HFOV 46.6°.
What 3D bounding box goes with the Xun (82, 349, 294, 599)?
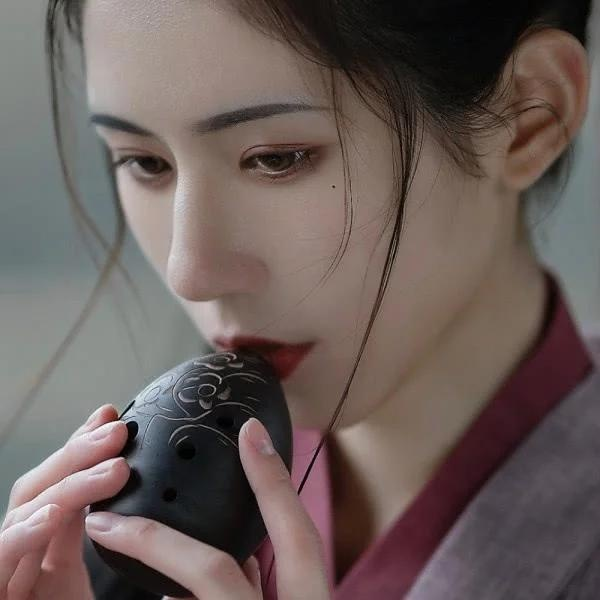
[{"bbox_3d":[-0.063,0.100,0.456,0.108,0.100,0.131,6,30,15],"label":"Xun"}]
